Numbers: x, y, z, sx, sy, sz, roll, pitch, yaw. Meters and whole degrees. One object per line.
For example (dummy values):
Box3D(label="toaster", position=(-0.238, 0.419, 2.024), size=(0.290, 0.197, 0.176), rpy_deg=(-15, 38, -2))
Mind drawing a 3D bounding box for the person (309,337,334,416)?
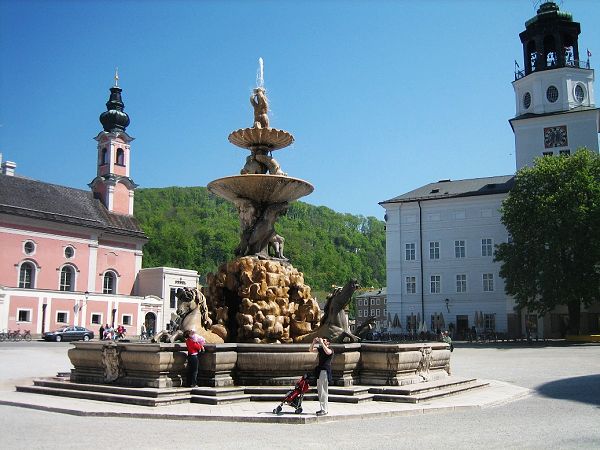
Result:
Box3D(label="person", position=(0.555, 3.822, 18.332), size=(0.523, 1.898, 0.987), rpy_deg=(-1, -10, 2))

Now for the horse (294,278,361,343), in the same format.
Box3D(label="horse", position=(1.000, 2.556, 21.255), size=(0.957, 1.852, 1.945), rpy_deg=(7, -13, -38))

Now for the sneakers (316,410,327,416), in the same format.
Box3D(label="sneakers", position=(0.519, 4.649, 17.815), size=(0.222, 0.094, 0.094), rpy_deg=(13, -19, -31))

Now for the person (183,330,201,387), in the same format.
Box3D(label="person", position=(-2.872, 3.617, 19.567), size=(0.414, 1.487, 0.306), rpy_deg=(1, -10, -10))

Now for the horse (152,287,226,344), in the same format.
Box3D(label="horse", position=(-3.104, 2.584, 20.965), size=(1.267, 1.670, 2.442), rpy_deg=(-6, -11, 27))

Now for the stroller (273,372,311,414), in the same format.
Box3D(label="stroller", position=(-0.208, 4.257, 18.343), size=(0.910, 1.082, 0.736), rpy_deg=(-3, -9, -1))

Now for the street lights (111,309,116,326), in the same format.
Box3D(label="street lights", position=(-15.946, 7.846, 61.858), size=(0.392, 1.434, 0.660), rpy_deg=(0, -10, -5))

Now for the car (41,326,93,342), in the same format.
Box3D(label="car", position=(-16.161, 7.577, 50.307), size=(1.341, 1.120, 3.899), rpy_deg=(-6, -11, 26))
